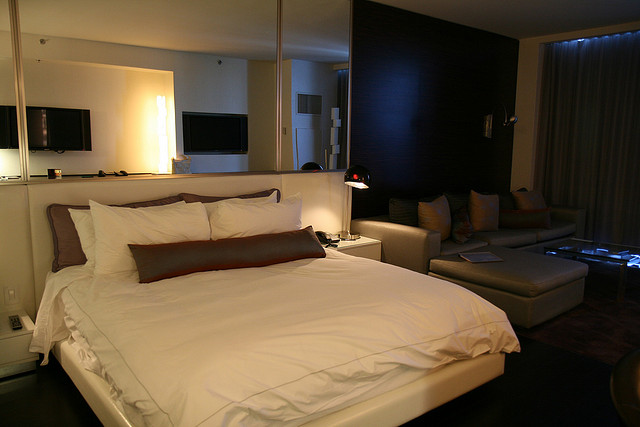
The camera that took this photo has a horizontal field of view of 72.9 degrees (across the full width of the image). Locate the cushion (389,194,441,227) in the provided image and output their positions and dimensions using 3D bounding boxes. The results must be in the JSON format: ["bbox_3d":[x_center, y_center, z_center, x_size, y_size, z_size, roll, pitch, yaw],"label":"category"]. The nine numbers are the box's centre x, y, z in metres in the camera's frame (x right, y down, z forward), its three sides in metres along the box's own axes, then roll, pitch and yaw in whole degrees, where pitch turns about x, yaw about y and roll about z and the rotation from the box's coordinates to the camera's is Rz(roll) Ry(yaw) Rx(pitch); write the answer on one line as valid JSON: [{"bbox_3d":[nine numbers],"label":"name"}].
[{"bbox_3d":[1.008,-0.022,5.111,0.378,0.366,0.115,0,-12,-14],"label":"cushion"}]

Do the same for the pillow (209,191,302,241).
[{"bbox_3d":[-0.551,0.045,3.917,0.935,0.410,0.275,-3,7,-30],"label":"pillow"}]

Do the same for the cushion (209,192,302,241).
[{"bbox_3d":[-0.536,0.033,3.917,0.909,0.409,0.266,-4,15,-31],"label":"cushion"}]

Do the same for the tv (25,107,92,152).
[{"bbox_3d":[-2.154,-0.689,3.559,0.547,0.358,0.055,0,4,1],"label":"tv"}]

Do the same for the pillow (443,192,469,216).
[{"bbox_3d":[1.672,-0.097,5.299,0.333,0.362,0.123,0,-2,-8],"label":"pillow"}]

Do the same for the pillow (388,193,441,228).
[{"bbox_3d":[1.010,-0.020,5.056,0.388,0.375,0.117,0,-9,-8],"label":"pillow"}]

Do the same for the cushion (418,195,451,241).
[{"bbox_3d":[1.307,0.074,4.921,0.195,0.445,0.513,0,6,43],"label":"cushion"}]

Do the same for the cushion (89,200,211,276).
[{"bbox_3d":[-1.335,0.215,3.368,0.560,0.346,0.175,-5,-17,-38],"label":"cushion"}]

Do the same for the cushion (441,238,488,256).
[{"bbox_3d":[1.521,0.371,4.897,0.340,0.153,0.223,-9,14,-32],"label":"cushion"}]

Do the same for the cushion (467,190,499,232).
[{"bbox_3d":[2.045,0.000,5.424,0.499,0.476,0.166,6,-11,-27],"label":"cushion"}]

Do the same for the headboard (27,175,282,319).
[{"bbox_3d":[-1.348,0.288,3.346,1.224,0.710,0.123,-3,3,-34],"label":"headboard"}]

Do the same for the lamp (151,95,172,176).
[{"bbox_3d":[-1.450,-0.694,3.889,0.198,0.712,0.085,-8,12,-19],"label":"lamp"}]

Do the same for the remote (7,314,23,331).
[{"bbox_3d":[-2.372,0.846,3.361,0.090,0.033,0.163,-12,24,-43],"label":"remote"}]

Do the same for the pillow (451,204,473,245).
[{"bbox_3d":[1.665,0.149,5.104,0.241,0.450,0.416,11,12,33],"label":"pillow"}]

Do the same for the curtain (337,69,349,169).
[{"bbox_3d":[0.295,-1.046,4.966,0.050,1.162,0.253,-7,11,-31],"label":"curtain"}]

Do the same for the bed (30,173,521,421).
[{"bbox_3d":[-0.604,0.535,3.175,2.630,1.073,2.140,-7,16,-34],"label":"bed"}]

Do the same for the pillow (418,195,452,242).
[{"bbox_3d":[1.305,0.082,4.916,0.195,0.467,0.517,1,7,43],"label":"pillow"}]

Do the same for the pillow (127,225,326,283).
[{"bbox_3d":[-0.733,0.364,3.579,1.759,0.323,0.286,-4,-20,-37],"label":"pillow"}]

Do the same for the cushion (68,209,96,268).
[{"bbox_3d":[-1.848,0.189,3.416,0.114,0.369,0.382,-4,-1,-10],"label":"cushion"}]

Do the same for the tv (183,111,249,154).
[{"bbox_3d":[-0.998,-0.767,4.222,0.632,0.356,0.078,2,13,5],"label":"tv"}]

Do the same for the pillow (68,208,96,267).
[{"bbox_3d":[-1.853,0.199,3.421,0.114,0.369,0.378,-5,3,-5],"label":"pillow"}]

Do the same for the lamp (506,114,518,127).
[{"bbox_3d":[2.941,-1.412,6.611,0.156,0.187,0.386,1,11,24],"label":"lamp"}]

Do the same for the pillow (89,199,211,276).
[{"bbox_3d":[-1.332,0.214,3.371,0.583,0.347,0.166,-3,-20,-36],"label":"pillow"}]

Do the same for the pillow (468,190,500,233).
[{"bbox_3d":[2.096,-0.008,5.533,0.546,0.522,0.190,1,0,-28],"label":"pillow"}]

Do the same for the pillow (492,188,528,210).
[{"bbox_3d":[2.543,-0.159,5.814,0.341,0.326,0.126,-7,-18,-4],"label":"pillow"}]
